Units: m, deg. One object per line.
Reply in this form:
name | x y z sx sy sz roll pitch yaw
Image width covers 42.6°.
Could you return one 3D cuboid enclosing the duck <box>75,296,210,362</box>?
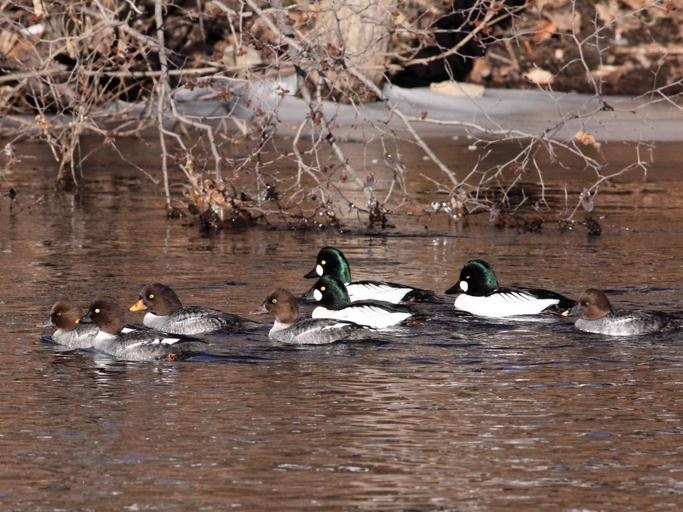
duck | -2.306 0.814 9.993 1.421 0.671 0.500 1 5 29
